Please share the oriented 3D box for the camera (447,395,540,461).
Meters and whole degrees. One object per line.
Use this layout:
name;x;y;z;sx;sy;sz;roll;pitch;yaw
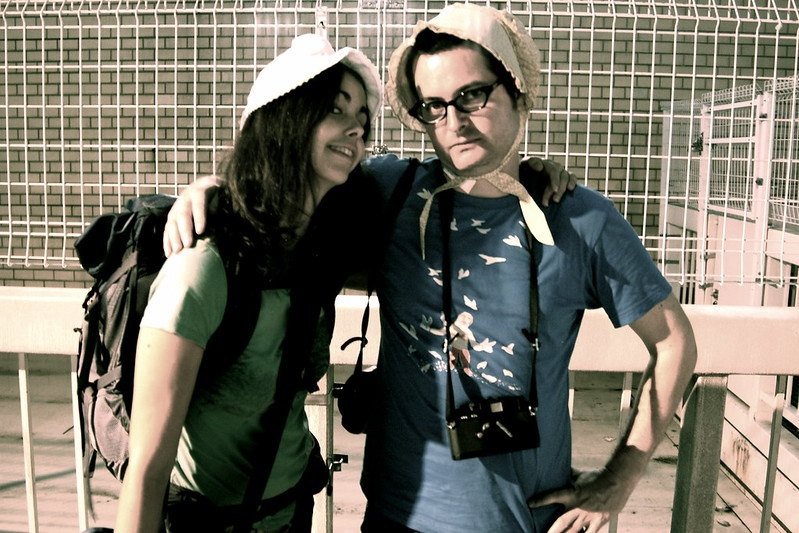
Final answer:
camera;0.557;0.971;5.982;0.517;0.369;0.174;-4;3;0
